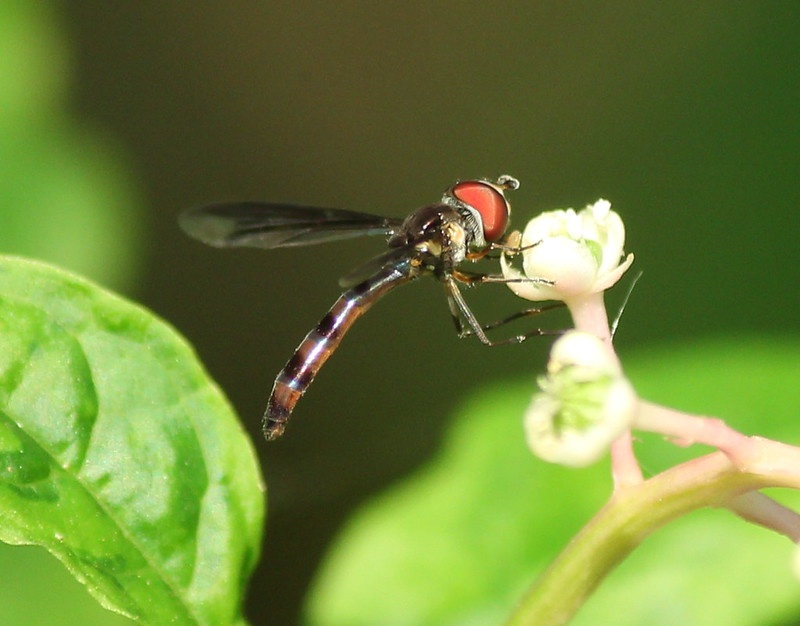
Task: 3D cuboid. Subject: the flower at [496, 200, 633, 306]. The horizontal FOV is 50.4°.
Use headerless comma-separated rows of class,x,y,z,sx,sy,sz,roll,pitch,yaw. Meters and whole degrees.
flower,0.247,-0.091,1.265,0.167,0.154,0.089,-7,-52,2
